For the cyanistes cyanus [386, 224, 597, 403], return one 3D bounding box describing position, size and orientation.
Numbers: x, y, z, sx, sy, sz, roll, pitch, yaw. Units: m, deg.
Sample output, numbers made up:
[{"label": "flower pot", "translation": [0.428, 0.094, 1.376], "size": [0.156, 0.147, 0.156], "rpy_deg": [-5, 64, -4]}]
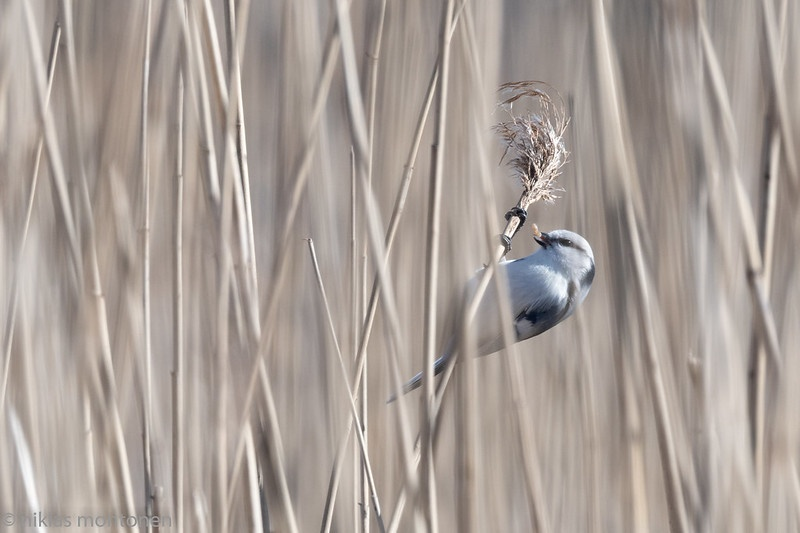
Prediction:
[{"label": "cyanistes cyanus", "translation": [0.184, 0.064, 3.729], "size": [0.683, 0.333, 0.186], "rpy_deg": [2, 9, -36]}]
